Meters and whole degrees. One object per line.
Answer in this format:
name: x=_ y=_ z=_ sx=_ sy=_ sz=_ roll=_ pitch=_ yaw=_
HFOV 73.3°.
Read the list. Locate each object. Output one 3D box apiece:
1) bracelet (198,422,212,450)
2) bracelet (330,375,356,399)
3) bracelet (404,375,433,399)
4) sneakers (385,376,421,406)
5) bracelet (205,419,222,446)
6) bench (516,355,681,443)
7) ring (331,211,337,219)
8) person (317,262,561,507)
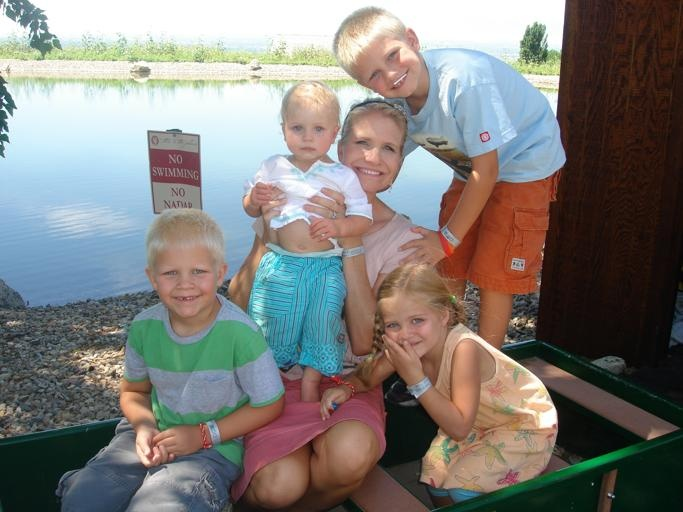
bracelet: x=-0.555 y=0.727 z=1.861 sx=0.025 sy=0.084 sz=0.063 roll=-14 pitch=12 yaw=-10
bracelet: x=0.007 y=0.634 z=2.246 sx=0.087 sy=0.026 sz=0.068 roll=51 pitch=10 yaw=9
bracelet: x=0.346 y=0.578 z=2.070 sx=0.099 sy=0.064 sz=0.101 roll=-40 pitch=3 yaw=-12
sneakers: x=0.332 y=0.752 z=2.504 sx=0.172 sy=0.132 sz=0.067 roll=39 pitch=2 yaw=-8
bracelet: x=-0.523 y=0.719 z=1.875 sx=0.075 sy=0.084 sz=0.082 roll=-9 pitch=3 yaw=-19
bench: x=1.484 y=0.824 z=2.610 sx=0.193 sy=0.028 sz=0.608 roll=-13 pitch=28 yaw=-36
ring: x=-0.038 y=-0.216 z=2.393 sx=0.033 sy=0.035 sz=0.030 roll=5 pitch=3 yaw=-1
person: x=0.528 y=0.620 z=2.187 sx=0.934 sy=1.064 sz=0.627 roll=9 pitch=20 yaw=27
